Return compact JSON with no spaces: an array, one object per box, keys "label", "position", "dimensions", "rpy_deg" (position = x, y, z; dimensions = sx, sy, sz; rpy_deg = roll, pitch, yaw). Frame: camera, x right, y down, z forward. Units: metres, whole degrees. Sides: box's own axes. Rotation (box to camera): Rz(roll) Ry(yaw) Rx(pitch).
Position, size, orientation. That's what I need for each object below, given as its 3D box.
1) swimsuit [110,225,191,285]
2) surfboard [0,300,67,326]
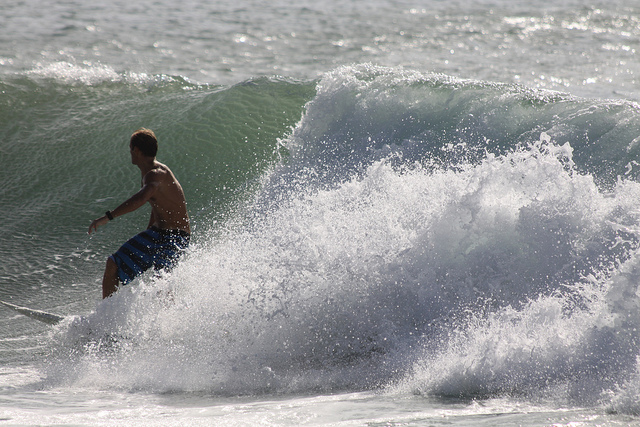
[{"label":"swimsuit","position":[-2.369,0.550,13.797],"dimensions":[1.130,0.246,0.636],"rpy_deg":[-30,75,-11]},{"label":"surfboard","position":[-4.245,1.474,14.368],"dimensions":[0.791,0.148,0.094],"rpy_deg":[16,100,21]}]
